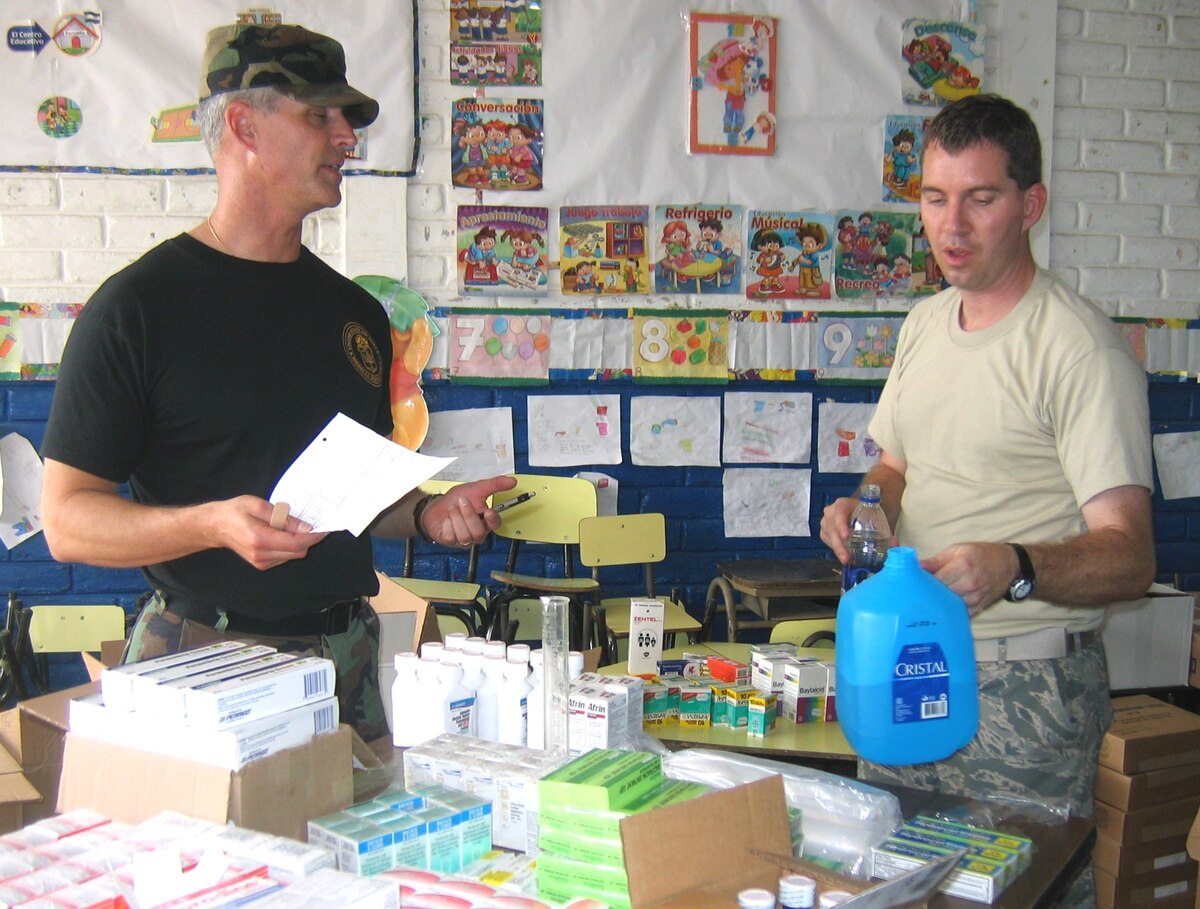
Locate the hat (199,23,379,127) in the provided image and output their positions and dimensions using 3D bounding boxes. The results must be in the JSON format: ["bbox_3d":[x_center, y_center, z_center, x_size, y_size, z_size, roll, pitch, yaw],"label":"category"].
[{"bbox_3d":[-0.723,-0.862,3.230,0.402,0.195,0.293,1,0,0],"label":"hat"}]

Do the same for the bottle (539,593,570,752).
[{"bbox_3d":[-0.097,0.449,2.846,0.062,0.305,0.076,-3,1,-5],"label":"bottle"}]

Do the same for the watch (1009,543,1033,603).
[{"bbox_3d":[0.857,0.242,2.845,0.067,0.100,0.037,-3,1,-15],"label":"watch"}]

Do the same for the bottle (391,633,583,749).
[{"bbox_3d":[-0.285,0.497,2.903,0.298,0.201,0.272,2,2,0],"label":"bottle"}]

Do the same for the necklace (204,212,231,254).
[{"bbox_3d":[-0.875,-0.496,3.160,0.020,0.082,0.080,-28,-29,4],"label":"necklace"}]

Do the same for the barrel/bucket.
[{"bbox_3d":[0.611,0.408,2.828,0.283,0.374,0.212,-5,12,-10],"label":"barrel/bucket"}]

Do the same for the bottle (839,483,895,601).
[{"bbox_3d":[0.601,0.217,3.198,0.111,0.267,0.106,2,13,0],"label":"bottle"}]
